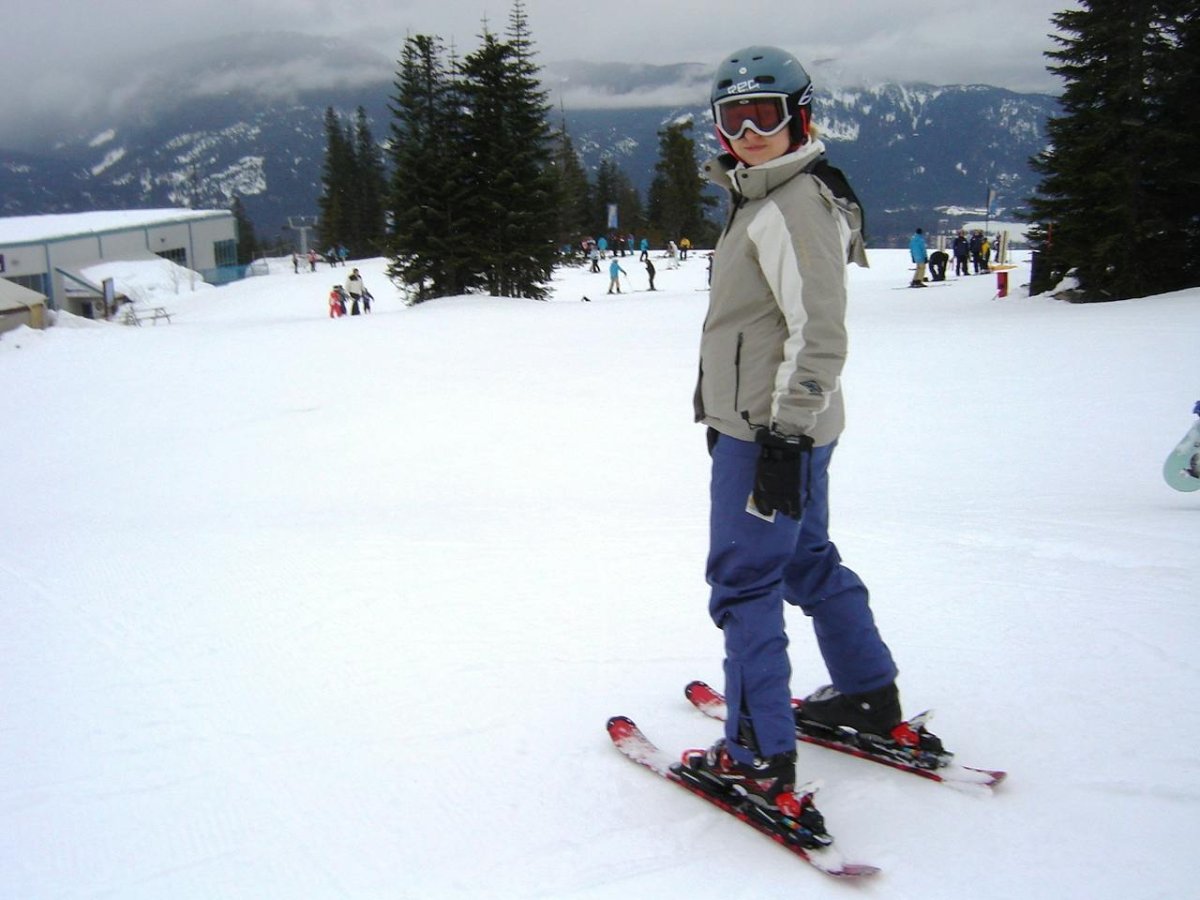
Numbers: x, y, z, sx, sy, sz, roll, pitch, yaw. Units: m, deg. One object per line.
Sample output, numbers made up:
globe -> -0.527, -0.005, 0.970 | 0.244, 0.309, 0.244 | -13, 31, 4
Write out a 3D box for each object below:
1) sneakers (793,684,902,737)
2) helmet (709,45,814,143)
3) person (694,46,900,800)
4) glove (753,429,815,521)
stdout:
sneakers -> 1.134, 1.157, 4.467 | 0.501, 0.232, 0.184 | 7, 10, 42
helmet -> 0.721, -1.507, 4.165 | 0.420, 0.500, 0.528 | 0, 21, 24
person -> 0.760, -0.131, 4.073 | 0.915, 3.112, 0.651 | -8, 10, -26
glove -> 0.738, 0.084, 3.901 | 0.255, 0.349, 0.129 | 9, 9, 28
